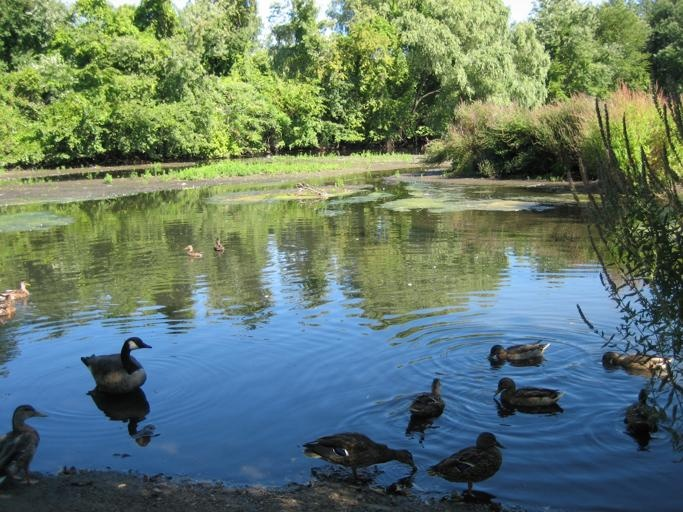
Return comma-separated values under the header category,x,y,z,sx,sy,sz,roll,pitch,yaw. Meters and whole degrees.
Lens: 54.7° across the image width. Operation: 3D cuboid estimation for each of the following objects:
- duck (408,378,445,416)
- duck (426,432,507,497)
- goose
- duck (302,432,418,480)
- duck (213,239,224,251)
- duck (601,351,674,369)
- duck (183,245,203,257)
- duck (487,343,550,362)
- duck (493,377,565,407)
category,x,y,z,sx,sy,sz,roll,pitch,yaw
duck,1.400,2.277,10.584,0.438,0.406,0.813,5,15,29
duck,1.774,2.861,9.181,0.982,0.620,0.442,-6,14,-15
goose,-3.951,1.943,11.654,1.004,1.022,1.280,2,11,-34
duck,0.180,2.793,9.618,1.790,0.695,0.622,14,-9,1
duck,-4.012,-0.339,21.374,0.262,0.308,0.747,-2,4,-5
duck,4.923,1.723,10.987,0.968,0.409,0.440,-6,-21,22
duck,-4.656,-0.105,20.696,0.582,0.339,0.785,20,-1,-20
duck,3.213,1.724,12.082,1.063,0.428,0.396,-4,9,-7
duck,3.017,2.212,10.729,1.027,0.400,0.291,3,14,20
